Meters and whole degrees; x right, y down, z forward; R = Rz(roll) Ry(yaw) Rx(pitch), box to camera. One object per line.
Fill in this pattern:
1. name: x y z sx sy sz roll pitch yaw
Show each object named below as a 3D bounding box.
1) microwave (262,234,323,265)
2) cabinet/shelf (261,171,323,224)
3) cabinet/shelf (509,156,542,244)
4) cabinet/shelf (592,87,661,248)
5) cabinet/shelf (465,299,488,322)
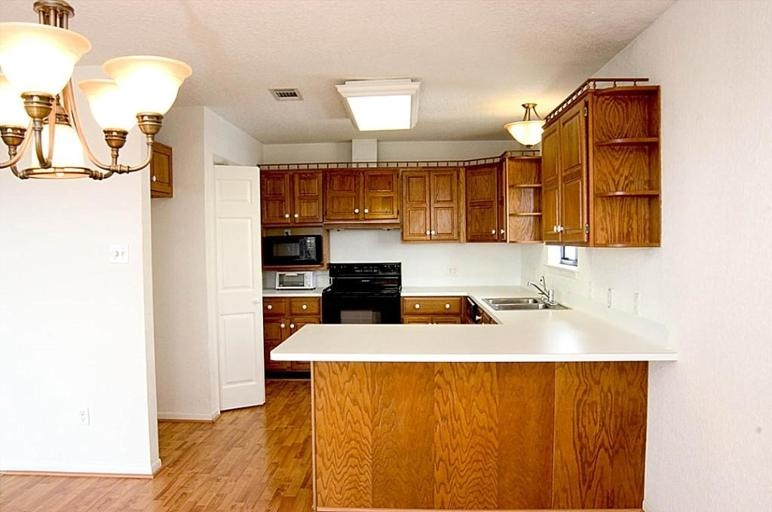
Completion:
1. microwave: -1.092 -0.061 6.382 0.620 0.289 0.341 0 -1 1
2. cabinet/shelf: -1.023 -0.662 6.344 0.680 0.520 0.251 0 -1 0
3. cabinet/shelf: 1.298 -0.536 5.348 0.344 0.800 0.236 -3 10 13
4. cabinet/shelf: 1.601 -0.589 3.805 0.481 1.051 0.253 -3 10 14
5. cabinet/shelf: 0.904 0.568 5.653 0.200 0.212 0.350 1 0 -2
